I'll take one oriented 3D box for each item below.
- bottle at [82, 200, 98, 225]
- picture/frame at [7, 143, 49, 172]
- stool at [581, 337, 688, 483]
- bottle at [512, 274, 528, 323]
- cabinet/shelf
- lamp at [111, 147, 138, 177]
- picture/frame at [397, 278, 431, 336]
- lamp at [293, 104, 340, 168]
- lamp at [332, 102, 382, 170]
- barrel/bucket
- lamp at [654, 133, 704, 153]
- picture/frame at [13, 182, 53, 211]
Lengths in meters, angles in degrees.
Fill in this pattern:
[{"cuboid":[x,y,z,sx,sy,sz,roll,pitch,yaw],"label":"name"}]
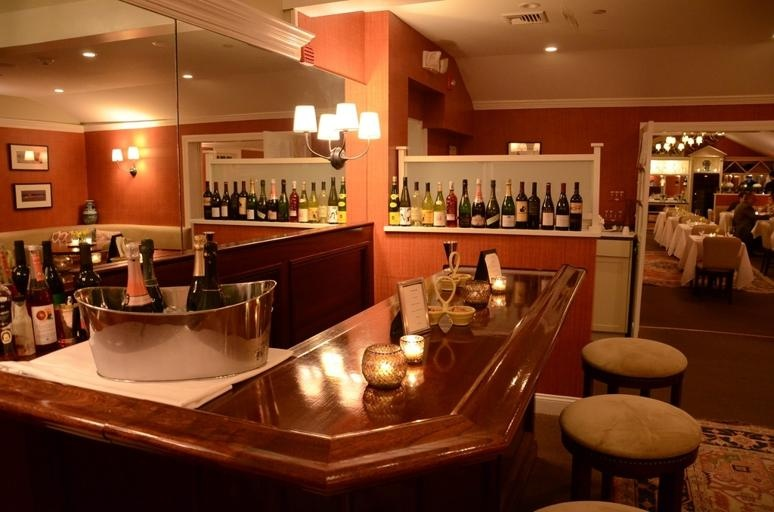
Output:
[{"cuboid":[-1.544,-0.227,2.823,0.015,0.126,0.086,3,10,33],"label":"bottle"},{"cuboid":[-1.723,-0.471,2.593,0.010,0.112,0.147,3,6,36],"label":"picture/frame"},{"cuboid":[1.343,0.712,3.025,0.420,0.493,0.438,0,11,5],"label":"stool"},{"cuboid":[0.689,0.157,2.812,0.053,0.229,0.055,-4,29,2],"label":"bottle"},{"cuboid":[2.287,0.293,5.480,0.373,0.999,0.132,1,9,21],"label":"cabinet/shelf"},{"cuboid":[-1.440,-0.512,2.968,0.088,0.145,0.130,18,23,37],"label":"lamp"},{"cuboid":[0.109,0.215,2.210,0.025,0.259,0.195,-4,4,40],"label":"picture/frame"},{"cuboid":[-0.532,-0.919,4.260,0.361,0.517,0.313,-1,5,-4],"label":"lamp"},{"cuboid":[-0.288,-0.952,4.424,0.316,0.478,0.442,2,-1,36],"label":"lamp"},{"cuboid":[-0.698,0.189,1.810,0.505,0.217,0.361,-1,2,-15],"label":"barrel/bucket"},{"cuboid":[6.938,-2.712,12.972,0.990,0.401,1.014,2,11,32],"label":"lamp"},{"cuboid":[-1.707,-0.284,2.605,0.014,0.121,0.138,-9,-3,43],"label":"picture/frame"}]
